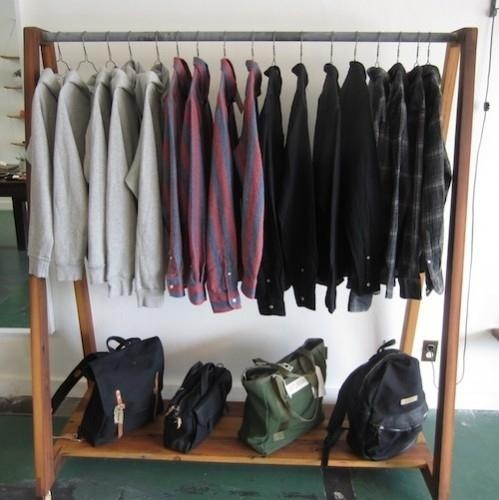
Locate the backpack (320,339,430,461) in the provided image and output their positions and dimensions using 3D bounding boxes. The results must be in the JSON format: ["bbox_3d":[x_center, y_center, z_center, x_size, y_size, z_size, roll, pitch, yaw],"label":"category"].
[{"bbox_3d":[0.543,0.655,2.238,0.228,0.474,0.353,11,18,41],"label":"backpack"}]

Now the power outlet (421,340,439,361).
[{"bbox_3d":[0.898,0.504,2.614,0.082,0.142,0.014,1,9,4],"label":"power outlet"}]

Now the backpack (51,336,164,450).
[{"bbox_3d":[-0.627,0.579,2.427,0.403,0.469,0.430,-1,8,27],"label":"backpack"}]

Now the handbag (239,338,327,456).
[{"bbox_3d":[0.154,0.659,2.273,0.301,0.330,0.159,-16,16,-38],"label":"handbag"}]
